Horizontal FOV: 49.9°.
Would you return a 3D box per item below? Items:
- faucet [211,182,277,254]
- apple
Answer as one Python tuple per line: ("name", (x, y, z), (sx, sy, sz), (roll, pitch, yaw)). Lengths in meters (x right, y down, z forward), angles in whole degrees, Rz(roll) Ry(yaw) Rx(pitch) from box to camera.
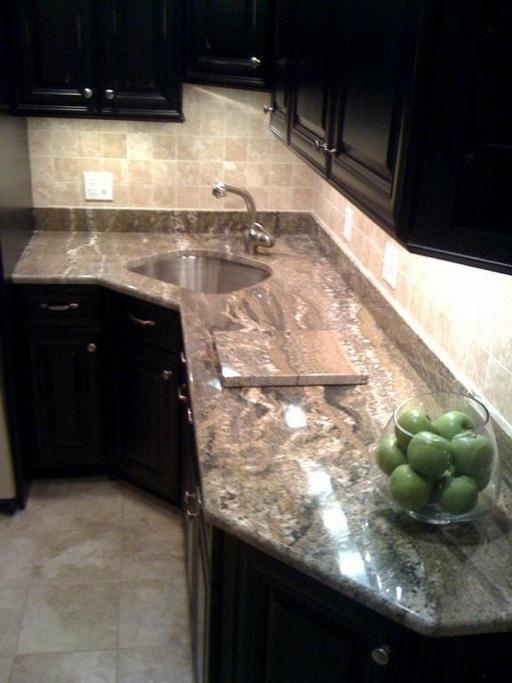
("faucet", (-0.069, -0.603, 2.667), (0.272, 0.337, 0.188), (-22, 43, -35))
("apple", (0.294, 0.184, 0.894), (0.142, 0.122, 0.174), (6, 41, 4))
